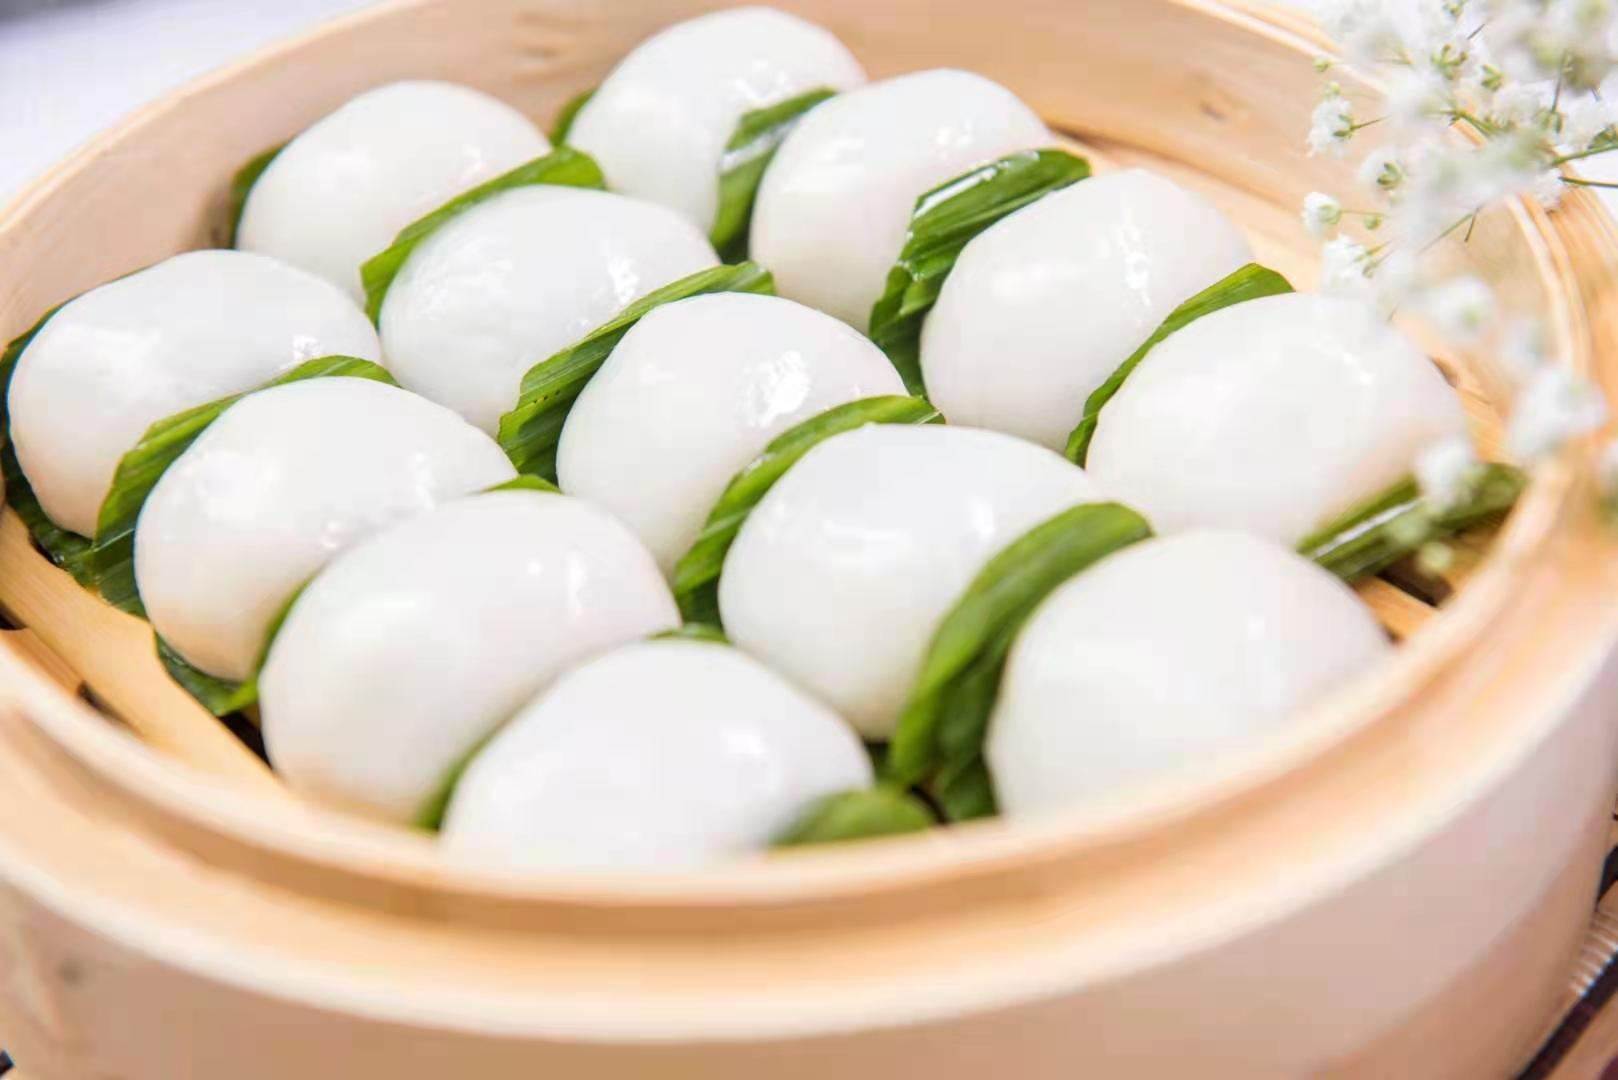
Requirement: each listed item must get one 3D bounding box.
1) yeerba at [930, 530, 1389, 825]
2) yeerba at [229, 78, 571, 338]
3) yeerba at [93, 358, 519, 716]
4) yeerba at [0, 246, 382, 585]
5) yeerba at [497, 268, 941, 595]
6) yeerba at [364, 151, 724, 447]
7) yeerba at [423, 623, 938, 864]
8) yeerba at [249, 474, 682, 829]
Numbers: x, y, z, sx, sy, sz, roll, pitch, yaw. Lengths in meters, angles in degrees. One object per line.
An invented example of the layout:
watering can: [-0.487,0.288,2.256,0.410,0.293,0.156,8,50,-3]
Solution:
yeerba: [0.216,0.078,0.810,0.228,0.144,0.208,-9,3,7]
yeerba: [-0.309,-0.277,1.114,0.173,0.109,0.202,10,58,30]
yeerba: [-0.291,-0.014,0.917,0.200,0.120,0.225,-5,52,31]
yeerba: [-0.418,-0.089,1.040,0.222,0.113,0.186,-34,68,-10]
yeerba: [-0.054,-0.101,0.934,0.211,0.136,0.227,28,55,31]
yeerba: [-0.230,-0.152,1.051,0.189,0.219,0.130,12,69,-23]
yeerba: [-0.081,0.078,0.723,0.156,0.107,0.131,-2,0,-7]
yeerba: [-0.197,0.075,0.866,0.203,0.117,0.161,-21,76,0]
